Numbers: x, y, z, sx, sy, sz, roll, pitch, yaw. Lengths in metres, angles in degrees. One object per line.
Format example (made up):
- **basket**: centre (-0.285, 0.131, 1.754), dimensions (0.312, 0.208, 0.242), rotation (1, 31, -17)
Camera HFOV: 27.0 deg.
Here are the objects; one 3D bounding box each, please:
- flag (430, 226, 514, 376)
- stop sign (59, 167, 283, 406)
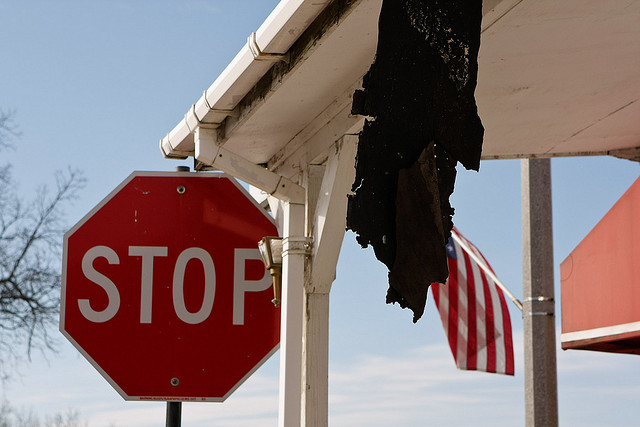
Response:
- **flag**: centre (1.418, 0.703, 12.847), dimensions (0.733, 1.971, 0.125), rotation (6, 37, 26)
- **stop sign**: centre (-1.102, 0.528, 9.861), dimensions (1.599, 1.760, 0.191), rotation (-4, -9, -2)
